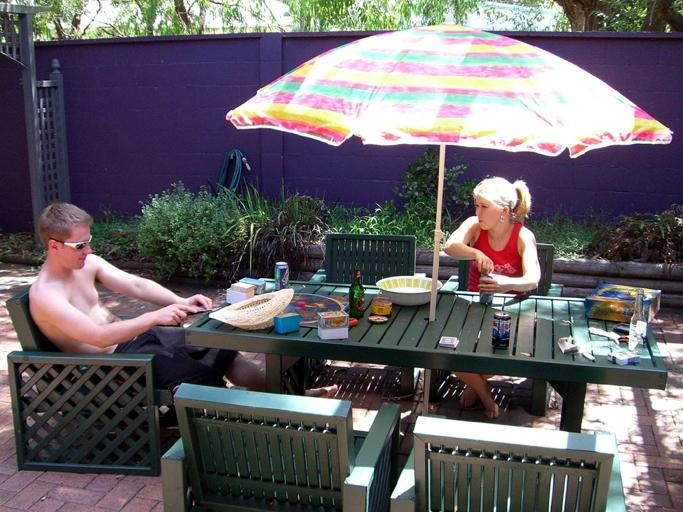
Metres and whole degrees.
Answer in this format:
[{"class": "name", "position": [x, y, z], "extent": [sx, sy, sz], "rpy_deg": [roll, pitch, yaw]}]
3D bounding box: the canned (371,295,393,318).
[{"class": "canned", "position": [0.245, 0.300, 3.122], "extent": [0.108, 0.096, 0.107], "rpy_deg": [-2, 7, -22]}]

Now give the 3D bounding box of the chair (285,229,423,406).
[{"class": "chair", "position": [0.186, 0.426, 4.241], "extent": [0.955, 1.061, 1.075], "rpy_deg": [3, 20, 8]}]

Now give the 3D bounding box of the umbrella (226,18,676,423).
[{"class": "umbrella", "position": [0.565, -0.425, 3.325], "extent": [1.694, 1.861, 1.788], "rpy_deg": [1, 19, 2]}]

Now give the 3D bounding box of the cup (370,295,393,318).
[{"class": "cup", "position": [0.240, 0.299, 3.105], "extent": [0.107, 0.095, 0.108], "rpy_deg": [0, 7, 0]}]

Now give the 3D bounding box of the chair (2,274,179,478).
[{"class": "chair", "position": [-1.515, 0.661, 3.393], "extent": [0.934, 1.131, 1.234], "rpy_deg": [0, 11, -4]}]

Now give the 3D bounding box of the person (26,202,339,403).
[{"class": "person", "position": [-0.856, 0.215, 3.488], "extent": [1.721, 1.228, 0.857], "rpy_deg": [4, 16, -4]}]
